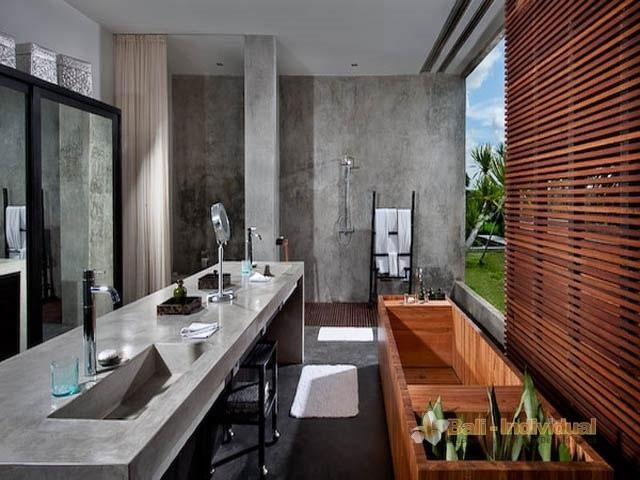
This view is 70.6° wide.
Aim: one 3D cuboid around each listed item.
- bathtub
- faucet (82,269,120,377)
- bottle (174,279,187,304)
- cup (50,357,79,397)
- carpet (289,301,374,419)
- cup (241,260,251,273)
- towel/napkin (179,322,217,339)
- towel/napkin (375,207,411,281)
[{"bbox_3d":[0.832,0.865,3.495,0.652,0.522,1.637,1,8,-1],"label":"bathtub"},{"bbox_3d":[-0.992,0.346,2.031,0.151,0.442,0.375,-4,9,-29],"label":"faucet"},{"bbox_3d":[-0.849,0.305,2.746,0.066,0.119,0.125,0,8,-8],"label":"bottle"},{"bbox_3d":[-0.991,0.541,1.756,0.078,0.156,0.148,0,-3,9],"label":"cup"},{"bbox_3d":[0.169,1.148,4.790,0.912,0.068,2.862,2,9,5],"label":"carpet"},{"bbox_3d":[-0.578,0.197,3.590,0.069,0.153,0.076,0,-3,0],"label":"cup"},{"bbox_3d":[-0.622,0.466,2.349,0.172,0.031,0.219,2,9,8],"label":"towel/napkin"},{"bbox_3d":[0.997,0.006,6.166,0.497,0.862,0.248,2,8,11],"label":"towel/napkin"}]
